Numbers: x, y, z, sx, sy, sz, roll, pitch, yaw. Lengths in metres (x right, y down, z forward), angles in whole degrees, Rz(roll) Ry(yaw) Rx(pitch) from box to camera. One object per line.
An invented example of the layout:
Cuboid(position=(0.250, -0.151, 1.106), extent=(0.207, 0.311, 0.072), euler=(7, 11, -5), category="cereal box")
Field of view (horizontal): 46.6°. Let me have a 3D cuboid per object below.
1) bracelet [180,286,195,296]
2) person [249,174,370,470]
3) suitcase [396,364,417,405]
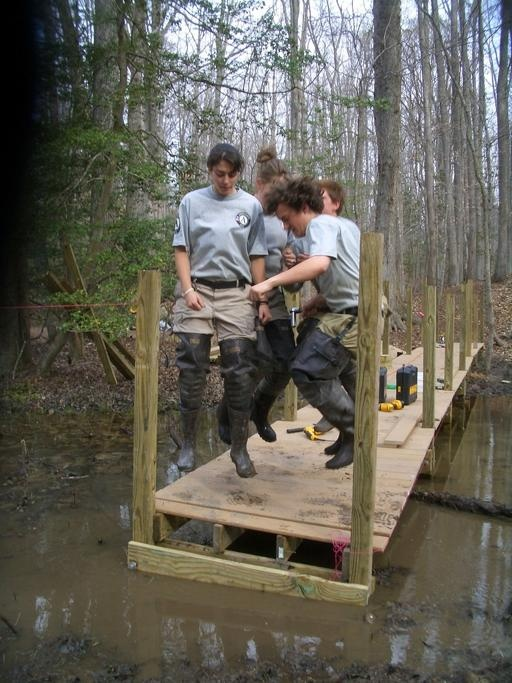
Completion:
Cuboid(position=(-0.412, -0.289, 3.538), extent=(0.062, 0.022, 0.053), euler=(-38, 1, 16), category="bracelet")
Cuboid(position=(0.323, -0.046, 3.426), extent=(0.572, 1.769, 0.912), euler=(1, 4, 14), category="person")
Cuboid(position=(1.568, 0.458, 6.204), extent=(0.142, 0.399, 0.353), euler=(2, 6, 20), category="suitcase")
